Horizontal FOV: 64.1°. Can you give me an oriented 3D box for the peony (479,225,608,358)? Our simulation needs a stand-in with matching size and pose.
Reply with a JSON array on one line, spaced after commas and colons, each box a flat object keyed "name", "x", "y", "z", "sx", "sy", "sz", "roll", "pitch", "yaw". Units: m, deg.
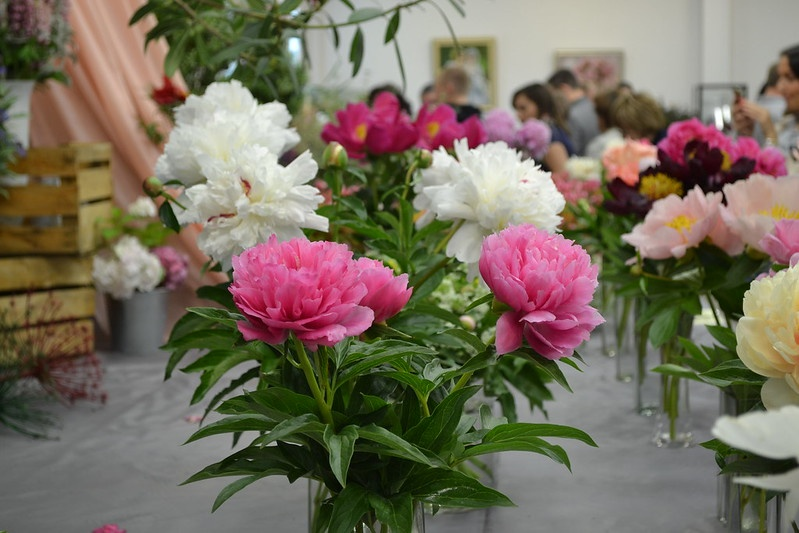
[{"name": "peony", "x": 0.143, "y": 0.040, "z": 0.790, "sx": 0.124, "sy": 0.178, "sz": 0.153, "roll": 9, "pitch": 15, "yaw": -8}]

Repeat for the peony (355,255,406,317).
[{"name": "peony", "x": -0.020, "y": 0.028, "z": 0.794, "sx": 0.061, "sy": 0.050, "sz": 0.063, "roll": 7, "pitch": -20, "yaw": 3}]

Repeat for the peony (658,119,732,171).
[{"name": "peony", "x": 0.645, "y": -0.274, "z": 1.397, "sx": 0.152, "sy": 0.095, "sz": 0.223, "roll": 5, "pitch": 13, "yaw": 23}]

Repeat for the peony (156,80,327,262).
[{"name": "peony", "x": -0.239, "y": -0.156, "z": 0.984, "sx": 0.259, "sy": 0.282, "sz": 0.149, "roll": 12, "pitch": 29, "yaw": 38}]

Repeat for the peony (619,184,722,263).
[{"name": "peony", "x": 0.531, "y": -0.070, "z": 1.202, "sx": 0.136, "sy": 0.083, "sz": 0.171, "roll": -4, "pitch": -16, "yaw": 15}]

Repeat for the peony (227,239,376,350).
[{"name": "peony", "x": -0.114, "y": 0.042, "z": 0.732, "sx": 0.153, "sy": 0.141, "sz": 0.125, "roll": -4, "pitch": 12, "yaw": -18}]
